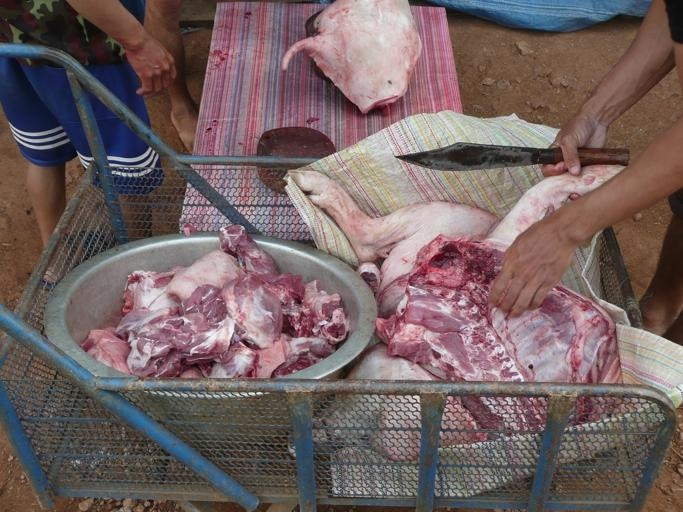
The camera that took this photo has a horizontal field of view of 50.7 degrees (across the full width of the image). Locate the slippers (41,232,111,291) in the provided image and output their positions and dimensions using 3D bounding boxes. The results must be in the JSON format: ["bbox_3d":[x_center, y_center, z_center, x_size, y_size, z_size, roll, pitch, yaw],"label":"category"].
[{"bbox_3d":[-0.899,-0.062,2.536,0.182,0.034,0.112,1,30,-32],"label":"slippers"}]

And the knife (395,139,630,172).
[{"bbox_3d":[0.573,-0.345,2.491,1.039,0.132,0.078,3,50,5],"label":"knife"}]

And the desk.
[{"bbox_3d":[-0.039,-0.802,3.278,1.246,0.709,1.785,1,60,-3],"label":"desk"}]
